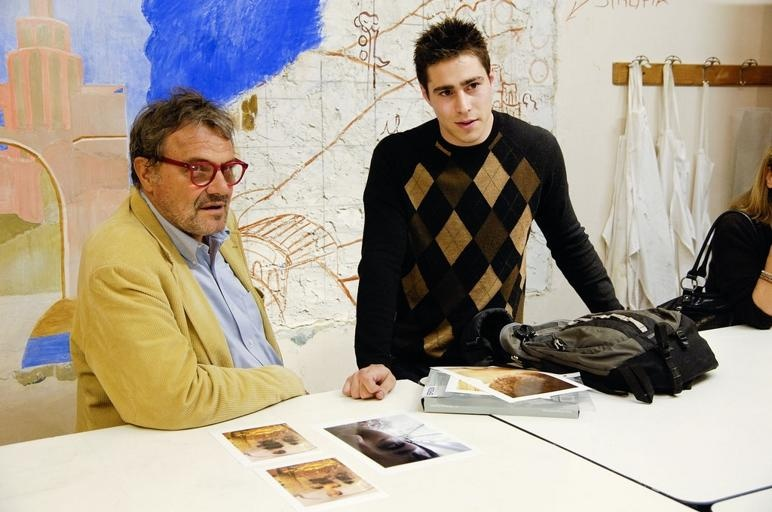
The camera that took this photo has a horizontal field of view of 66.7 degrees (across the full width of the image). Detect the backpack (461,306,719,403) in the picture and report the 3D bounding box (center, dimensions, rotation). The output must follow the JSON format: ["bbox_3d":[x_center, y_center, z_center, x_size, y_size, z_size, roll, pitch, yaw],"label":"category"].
[{"bbox_3d":[0.676,0.310,2.012,0.526,0.193,0.448,-3,2,34],"label":"backpack"}]

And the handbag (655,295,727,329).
[{"bbox_3d":[1.303,0.237,2.461,0.182,0.072,0.145,-4,-1,-10],"label":"handbag"}]
